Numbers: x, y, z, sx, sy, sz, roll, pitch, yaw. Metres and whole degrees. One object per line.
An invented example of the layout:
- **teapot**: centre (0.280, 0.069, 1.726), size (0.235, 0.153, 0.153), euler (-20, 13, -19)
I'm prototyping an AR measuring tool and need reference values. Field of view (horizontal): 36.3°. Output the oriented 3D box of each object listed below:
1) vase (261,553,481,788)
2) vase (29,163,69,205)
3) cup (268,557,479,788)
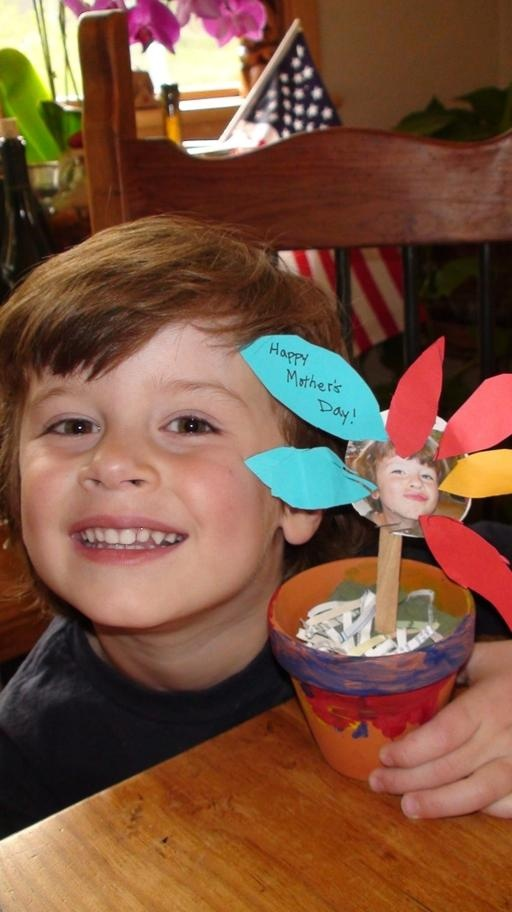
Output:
- **vase**: centre (0.075, 0.139, 0.511), size (0.134, 0.102, 0.129), euler (2, 18, 15)
- **vase**: centre (-0.461, -0.599, 1.731), size (0.078, 0.079, 0.076), euler (0, 5, 1)
- **cup**: centre (0.070, 0.139, 0.509), size (0.134, 0.102, 0.129), euler (-2, 17, 1)
